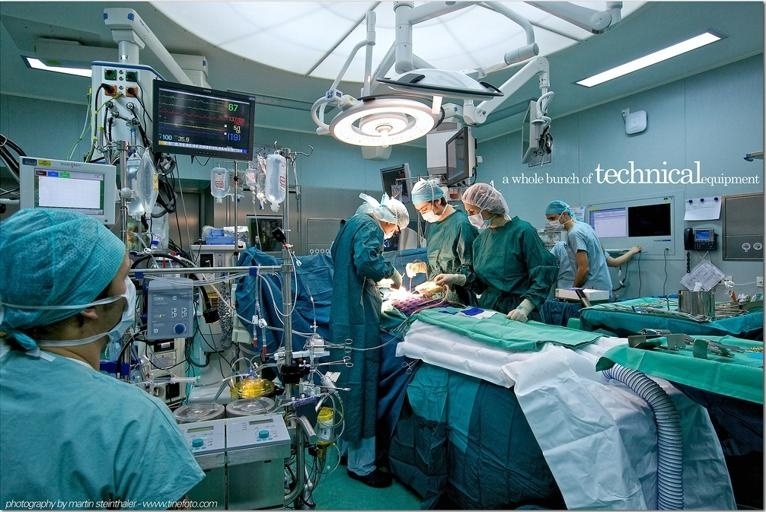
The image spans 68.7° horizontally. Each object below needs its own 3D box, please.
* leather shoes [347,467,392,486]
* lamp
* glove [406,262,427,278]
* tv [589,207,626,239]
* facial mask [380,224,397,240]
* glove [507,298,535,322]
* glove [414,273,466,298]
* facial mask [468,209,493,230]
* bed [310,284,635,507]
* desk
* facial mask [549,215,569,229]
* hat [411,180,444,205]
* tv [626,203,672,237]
[{"bbox_3d":[-0.090,1.397,3.554,0.219,0.093,0.111,0,-4,2],"label":"leather shoes"},{"bbox_3d":[0.337,-1.053,3.511,1.428,0.893,1.026,2,-6,-26],"label":"lamp"},{"bbox_3d":[0.255,0.111,4.496,0.213,0.120,0.161,0,-2,-7],"label":"glove"},{"bbox_3d":[2.323,-0.334,5.748,0.052,0.254,0.359,2,-2,-35],"label":"tv"},{"bbox_3d":[0.047,-0.190,4.062,0.084,0.097,0.107,8,-46,-29],"label":"facial mask"},{"bbox_3d":[0.901,0.351,3.629,0.085,0.092,0.283,37,17,26],"label":"glove"},{"bbox_3d":[0.434,0.205,4.127,0.253,0.084,0.192,-15,-12,12],"label":"glove"},{"bbox_3d":[0.808,-0.283,4.734,0.108,0.173,0.148,36,-11,-29],"label":"facial mask"},{"bbox_3d":[0.194,0.681,3.574,1.002,1.584,1.684,4,0,-29],"label":"bed"},{"bbox_3d":[1.448,0.481,2.937,0.882,0.231,0.599,-2,0,42],"label":"desk"},{"bbox_3d":[1.582,-0.311,5.017,0.118,0.070,0.113,3,12,11],"label":"facial mask"},{"bbox_3d":[0.341,-0.497,4.324,0.234,0.181,0.170,-4,14,-6],"label":"hat"},{"bbox_3d":[2.617,-0.358,5.469,0.112,0.288,0.329,-2,-1,-34],"label":"tv"}]
